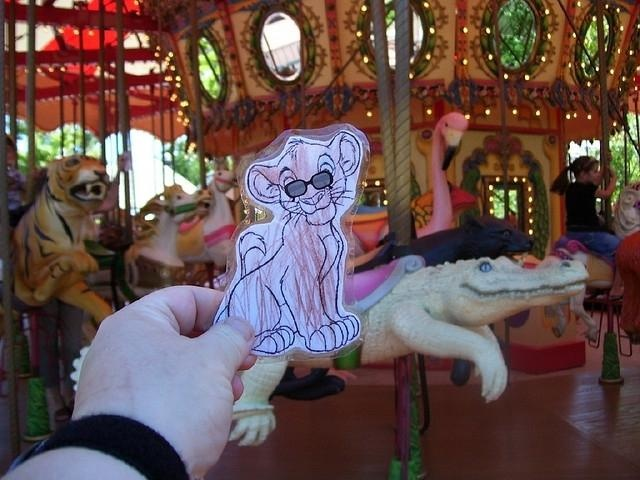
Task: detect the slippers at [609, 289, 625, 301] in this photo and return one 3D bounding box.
[{"bbox_3d":[3.008,0.564,6.840,0.110,0.172,0.127,-7,-17,28],"label":"slippers"}]
